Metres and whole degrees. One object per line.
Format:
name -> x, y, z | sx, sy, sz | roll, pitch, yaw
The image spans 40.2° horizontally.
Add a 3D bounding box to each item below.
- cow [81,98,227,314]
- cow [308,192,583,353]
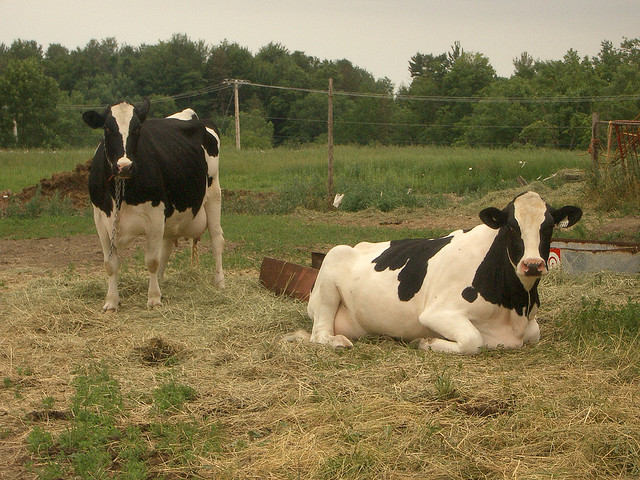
cow -> -2.018, -0.575, 12.462 | 1.774, 2.741, 3.490 | 3, 6, 11
cow -> 1.313, 0.458, 9.968 | 2.839, 1.332, 1.604 | -8, -9, 37
